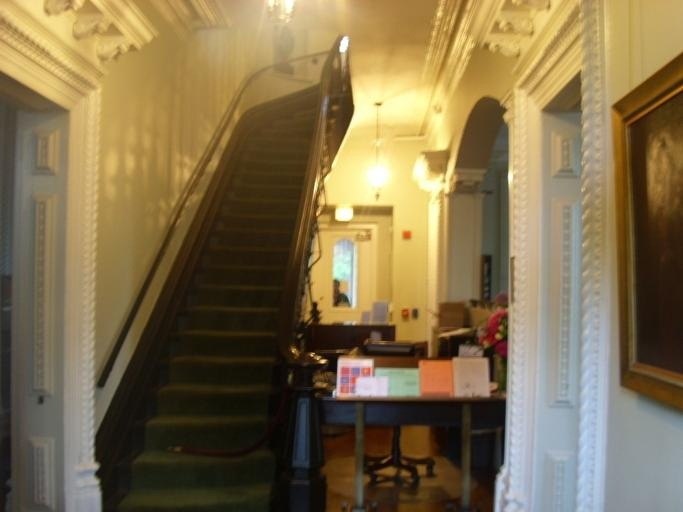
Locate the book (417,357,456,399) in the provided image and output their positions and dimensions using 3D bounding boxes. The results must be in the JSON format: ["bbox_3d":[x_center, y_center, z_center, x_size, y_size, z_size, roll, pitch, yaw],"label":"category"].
[{"bbox_3d":[0.725,0.939,4.850,0.239,0.269,0.059,2,-9,-10],"label":"book"}]

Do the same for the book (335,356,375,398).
[{"bbox_3d":[0.096,0.922,4.861,0.289,0.285,0.198,0,-6,2],"label":"book"}]

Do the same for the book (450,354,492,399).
[{"bbox_3d":[0.988,0.929,4.862,0.264,0.295,0.064,1,-8,-3],"label":"book"}]
